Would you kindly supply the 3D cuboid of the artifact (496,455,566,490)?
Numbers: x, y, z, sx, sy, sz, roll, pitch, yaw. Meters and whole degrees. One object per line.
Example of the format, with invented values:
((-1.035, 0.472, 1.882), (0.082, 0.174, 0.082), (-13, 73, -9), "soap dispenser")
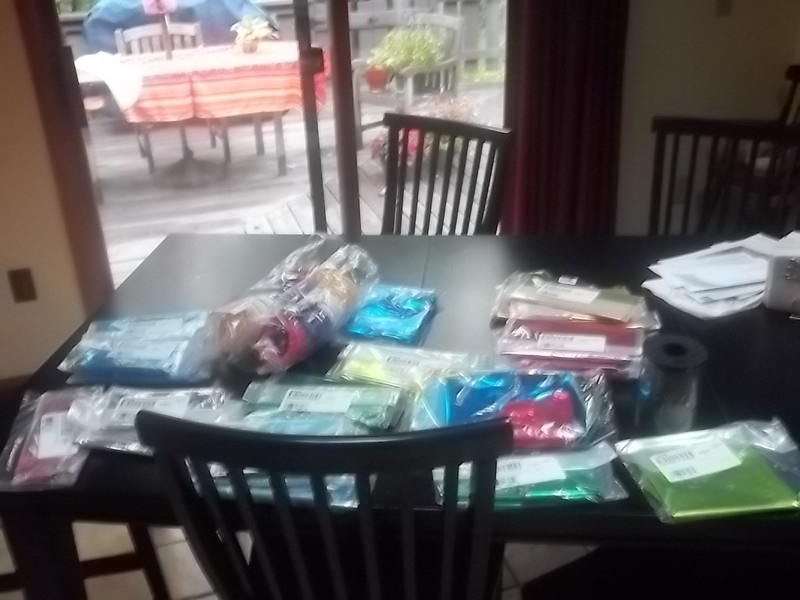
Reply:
((0.181, 0.238, 0.785), (0.087, 0.014, 0.052), (-4, 30, -2), "artifact")

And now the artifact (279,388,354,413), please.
((-0.130, 0.164, 0.923), (0.079, 0.011, 0.048), (1, 32, 3), "artifact")
